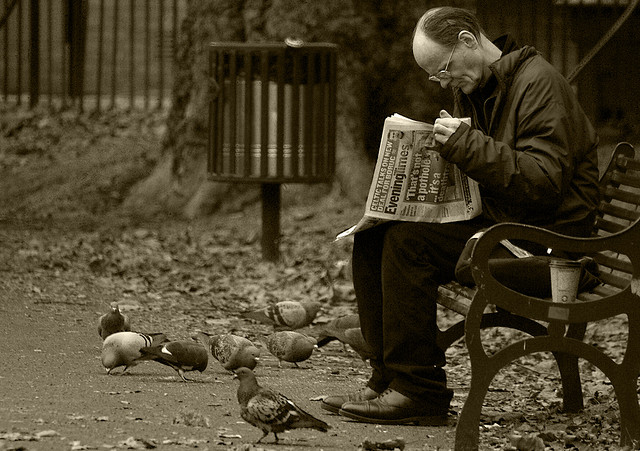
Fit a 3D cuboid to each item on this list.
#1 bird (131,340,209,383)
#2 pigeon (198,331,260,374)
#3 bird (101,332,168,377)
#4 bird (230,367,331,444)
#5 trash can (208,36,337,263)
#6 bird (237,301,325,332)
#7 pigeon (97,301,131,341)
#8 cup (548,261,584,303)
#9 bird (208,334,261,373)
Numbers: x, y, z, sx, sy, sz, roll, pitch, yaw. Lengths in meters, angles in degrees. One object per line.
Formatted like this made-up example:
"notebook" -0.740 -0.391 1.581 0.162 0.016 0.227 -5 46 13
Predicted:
"bird" -1.384 1.216 12.561 0.727 0.435 0.301 19 -6 -10
"pigeon" -0.871 1.111 12.747 0.239 0.281 0.669 2 37 -48
"bird" -1.713 1.183 12.483 0.613 0.393 0.381 -6 14 -33
"bird" -0.384 1.531 11.145 0.788 0.542 0.274 8 12 23
"trash can" -0.419 -1.165 15.823 1.545 2.989 1.532 -2 4 -44
"bird" -0.406 0.950 13.843 0.736 0.382 0.357 10 14 31
"pigeon" -2.030 0.944 13.263 0.226 0.340 0.450 -1 -9 -14
"cup" 2.018 0.454 11.207 0.289 0.375 0.302 1 12 0
"bird" -0.813 1.188 12.638 0.223 0.269 0.622 -13 41 -33
